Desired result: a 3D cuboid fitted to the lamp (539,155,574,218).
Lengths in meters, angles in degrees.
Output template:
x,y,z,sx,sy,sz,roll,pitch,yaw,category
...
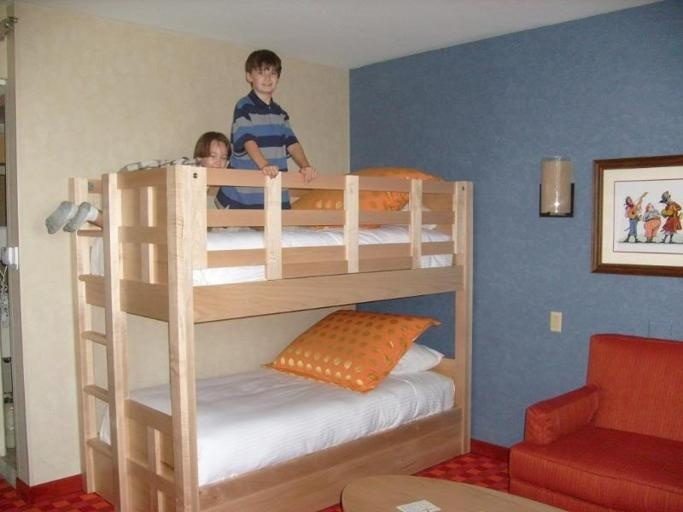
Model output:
x,y,z,sx,sy,sz,roll,pitch,yaw,category
1.383,-0.449,3.791,0.188,0.367,0.070,1,6,22,lamp
